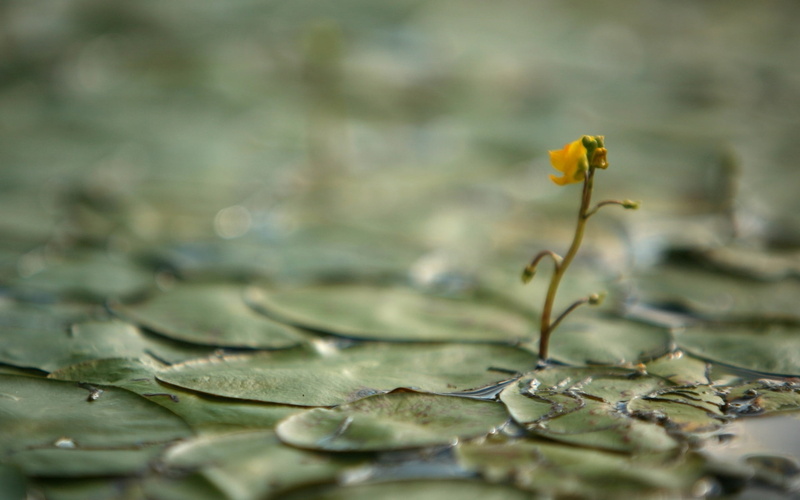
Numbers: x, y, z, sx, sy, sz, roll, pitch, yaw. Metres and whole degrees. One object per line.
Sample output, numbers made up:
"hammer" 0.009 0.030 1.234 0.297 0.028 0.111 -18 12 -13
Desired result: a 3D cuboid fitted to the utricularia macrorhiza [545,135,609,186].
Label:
"utricularia macrorhiza" 0.307 -0.151 1.384 0.119 0.050 0.080 -29 43 -24
